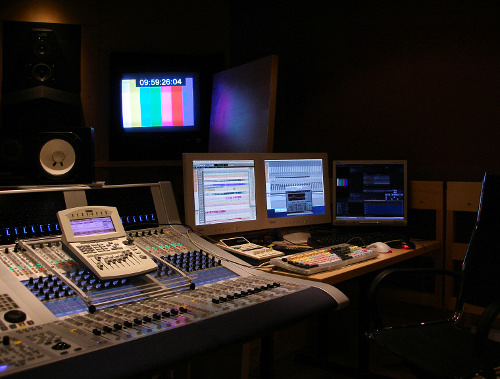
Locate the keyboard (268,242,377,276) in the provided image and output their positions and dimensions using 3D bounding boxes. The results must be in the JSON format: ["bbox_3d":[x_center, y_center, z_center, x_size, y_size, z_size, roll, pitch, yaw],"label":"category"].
[{"bbox_3d":[0.405,0.357,2.143,0.595,0.090,0.233,-11,15,-38],"label":"keyboard"}]

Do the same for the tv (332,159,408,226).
[{"bbox_3d":[0.830,0.026,2.770,0.506,0.383,0.064,0,-3,6],"label":"tv"}]

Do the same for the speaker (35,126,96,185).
[{"bbox_3d":[-1.003,-0.164,2.020,0.158,0.267,0.326,5,6,28],"label":"speaker"}]

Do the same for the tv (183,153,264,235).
[{"bbox_3d":[-0.149,0.025,2.396,0.538,0.436,0.049,-3,0,-42],"label":"tv"}]

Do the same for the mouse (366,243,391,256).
[{"bbox_3d":[0.756,0.337,2.353,0.064,0.034,0.112,-3,9,-33],"label":"mouse"}]

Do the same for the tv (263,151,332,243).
[{"bbox_3d":[0.238,0.015,2.724,0.532,0.459,0.280,-3,0,-23],"label":"tv"}]

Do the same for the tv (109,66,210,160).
[{"bbox_3d":[-0.670,-0.634,3.306,0.763,0.620,0.366,1,6,8],"label":"tv"}]

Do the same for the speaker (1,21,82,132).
[{"bbox_3d":[-1.398,-0.759,2.726,0.565,0.718,0.271,-8,14,-23],"label":"speaker"}]
